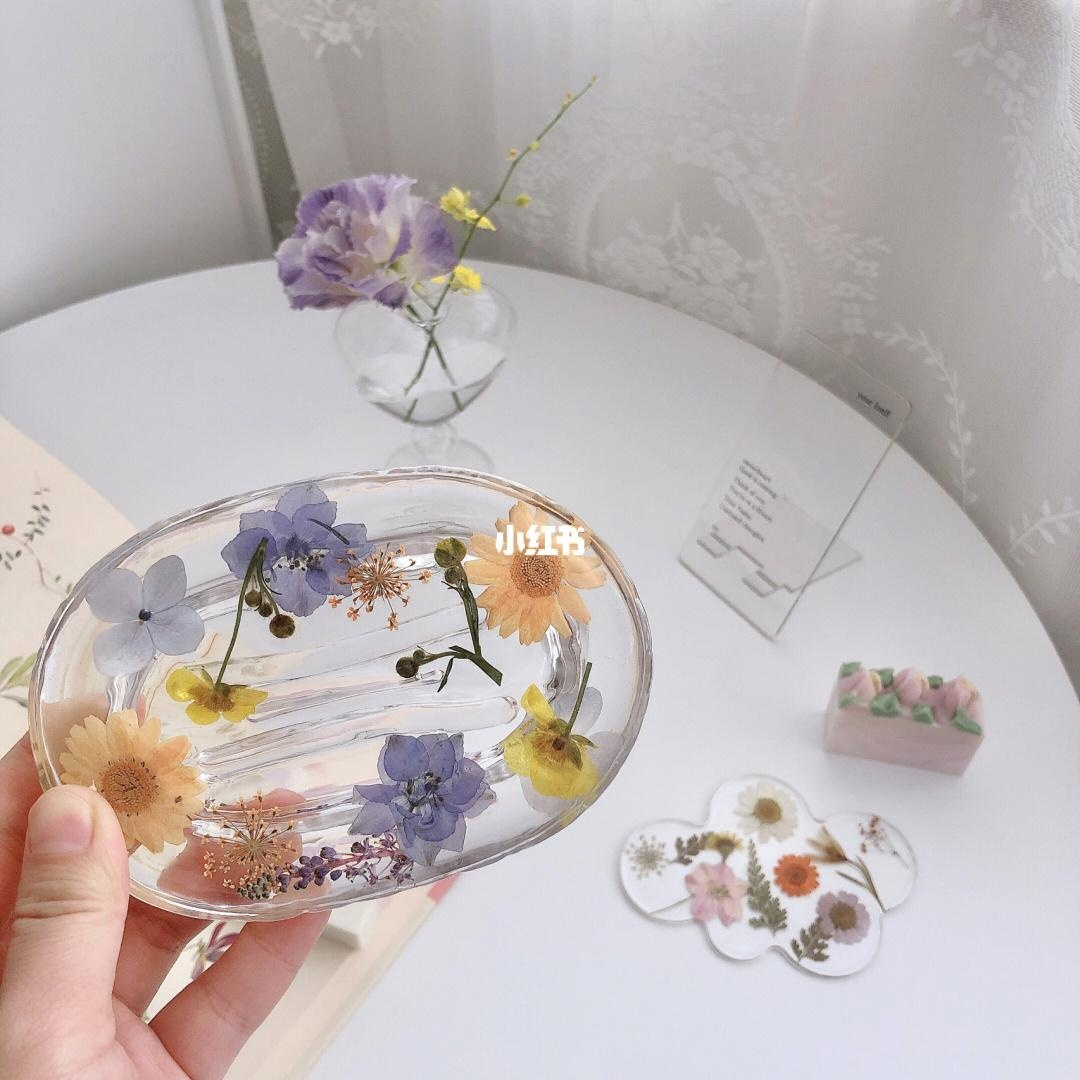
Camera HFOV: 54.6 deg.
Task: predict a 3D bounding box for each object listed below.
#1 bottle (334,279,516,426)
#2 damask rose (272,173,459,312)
[{"bbox_3d":[-0.090,-0.158,0.818,0.110,0.083,0.110,-3,35,2],"label":"bottle"},{"bbox_3d":[-0.116,-0.199,0.704,0.117,0.078,0.076,18,60,6],"label":"damask rose"}]
